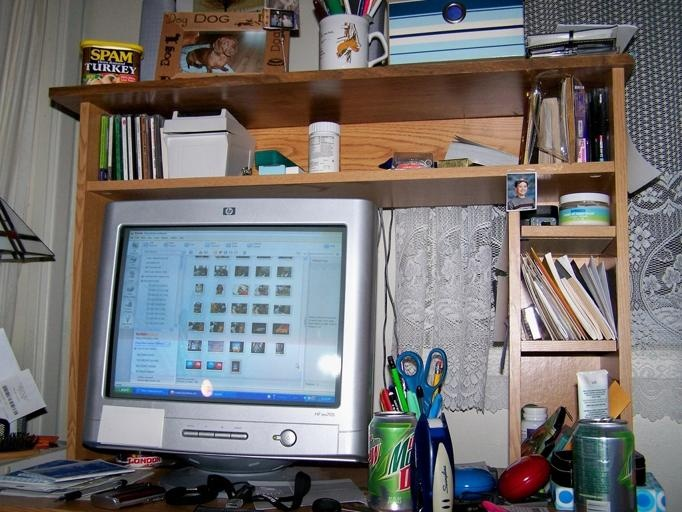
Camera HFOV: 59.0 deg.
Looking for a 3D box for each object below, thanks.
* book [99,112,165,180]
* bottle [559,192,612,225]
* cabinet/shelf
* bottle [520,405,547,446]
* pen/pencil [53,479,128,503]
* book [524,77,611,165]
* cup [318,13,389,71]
[{"bbox_3d":[-0.593,-0.304,1.814,0.183,0.230,0.237,0,-5,-2],"label":"book"},{"bbox_3d":[0.610,-0.115,1.492,0.094,0.056,0.091,1,-6,0],"label":"bottle"},{"bbox_3d":[-0.004,0.076,1.544,1.235,1.010,0.353,0,2,8],"label":"cabinet/shelf"},{"bbox_3d":[0.485,0.420,1.514,0.063,0.089,0.063,2,-14,1],"label":"bottle"},{"bbox_3d":[-0.574,0.536,1.368,0.158,0.025,0.027,-8,14,-26],"label":"pen/pencil"},{"bbox_3d":[0.567,-0.338,1.650,0.231,0.264,0.213,3,-3,-1],"label":"book"},{"bbox_3d":[0.015,-0.571,1.686,0.219,0.143,0.134,4,-6,-9],"label":"cup"}]
